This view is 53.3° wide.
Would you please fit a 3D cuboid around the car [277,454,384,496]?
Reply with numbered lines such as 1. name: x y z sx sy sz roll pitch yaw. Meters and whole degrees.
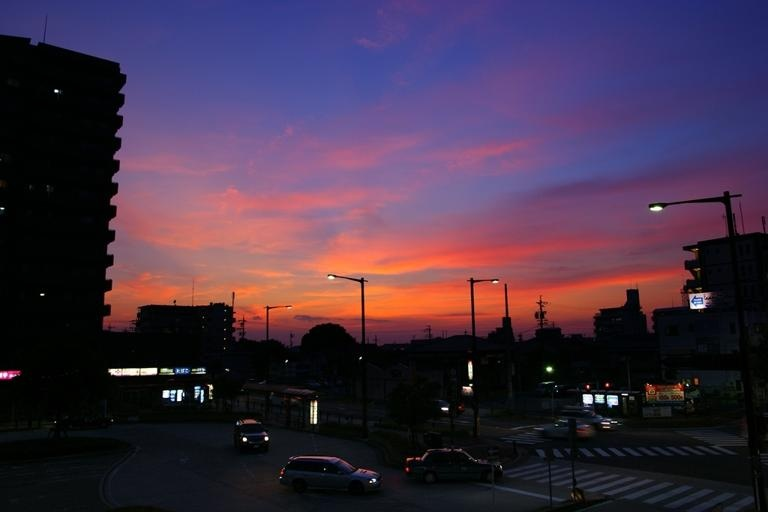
1. car: -5.442 22.493 79.325 9.701 2.730 4.005 -1 -4 5

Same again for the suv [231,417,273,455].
1. suv: -15.976 21.438 91.459 2.908 3.443 4.051 7 -14 -28

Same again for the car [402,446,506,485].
1. car: 7.181 22.159 80.714 9.411 2.850 3.865 -1 -6 -1
